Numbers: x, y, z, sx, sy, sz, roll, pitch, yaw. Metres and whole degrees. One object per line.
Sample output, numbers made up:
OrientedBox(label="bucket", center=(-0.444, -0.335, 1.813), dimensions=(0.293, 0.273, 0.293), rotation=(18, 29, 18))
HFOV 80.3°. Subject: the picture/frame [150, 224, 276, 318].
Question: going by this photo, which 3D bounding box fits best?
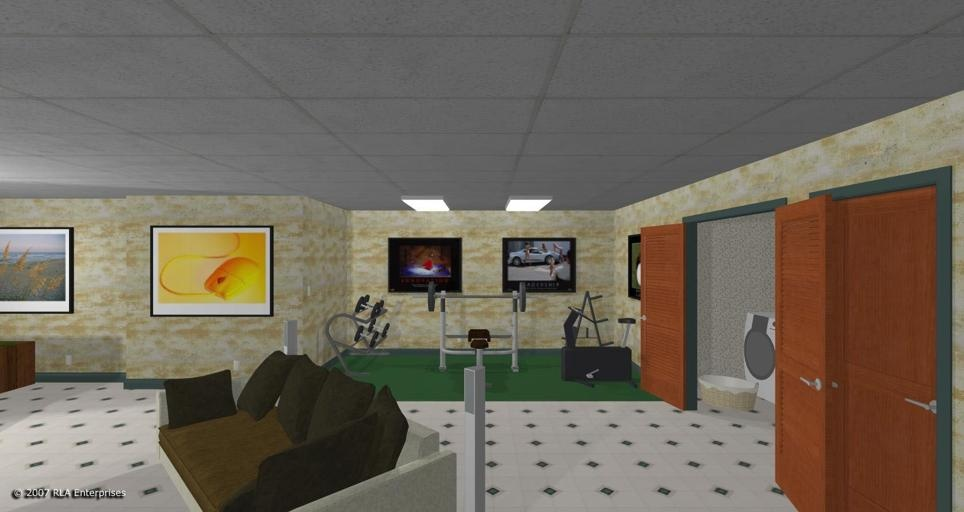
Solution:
OrientedBox(label="picture/frame", center=(-4.197, 0.248, 8.846), dimensions=(1.996, 1.083, 0.059), rotation=(0, -3, -3))
